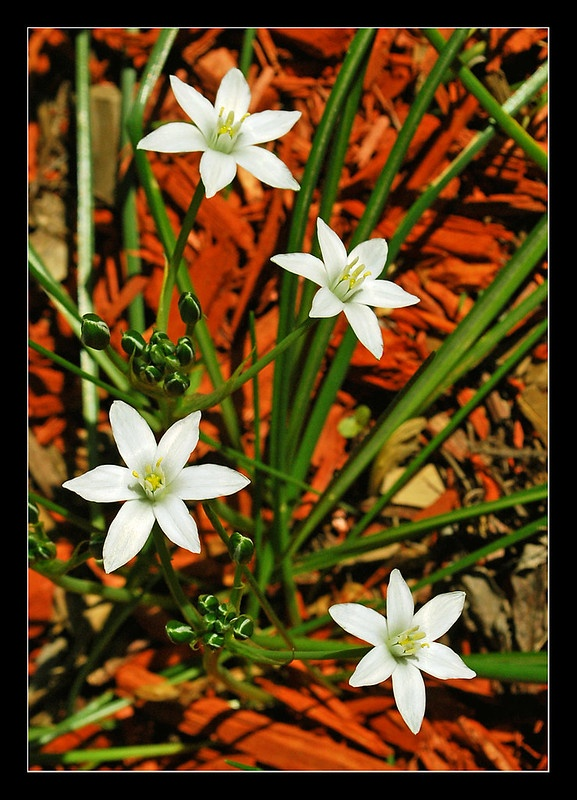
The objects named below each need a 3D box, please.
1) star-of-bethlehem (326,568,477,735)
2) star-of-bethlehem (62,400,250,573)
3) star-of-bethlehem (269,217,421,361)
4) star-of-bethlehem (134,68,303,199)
[{"bbox_3d":[0.123,0.314,0.926,0.189,0.180,0.145,11,-29,-19],"label":"star-of-bethlehem"},{"bbox_3d":[-0.135,0.116,0.854,0.181,0.162,0.068,-25,-39,-31],"label":"star-of-bethlehem"},{"bbox_3d":[0.088,-0.137,0.923,0.103,0.207,0.218,-17,-32,31],"label":"star-of-bethlehem"},{"bbox_3d":[-0.091,-0.302,0.959,0.207,0.201,0.078,3,-24,-16],"label":"star-of-bethlehem"}]
